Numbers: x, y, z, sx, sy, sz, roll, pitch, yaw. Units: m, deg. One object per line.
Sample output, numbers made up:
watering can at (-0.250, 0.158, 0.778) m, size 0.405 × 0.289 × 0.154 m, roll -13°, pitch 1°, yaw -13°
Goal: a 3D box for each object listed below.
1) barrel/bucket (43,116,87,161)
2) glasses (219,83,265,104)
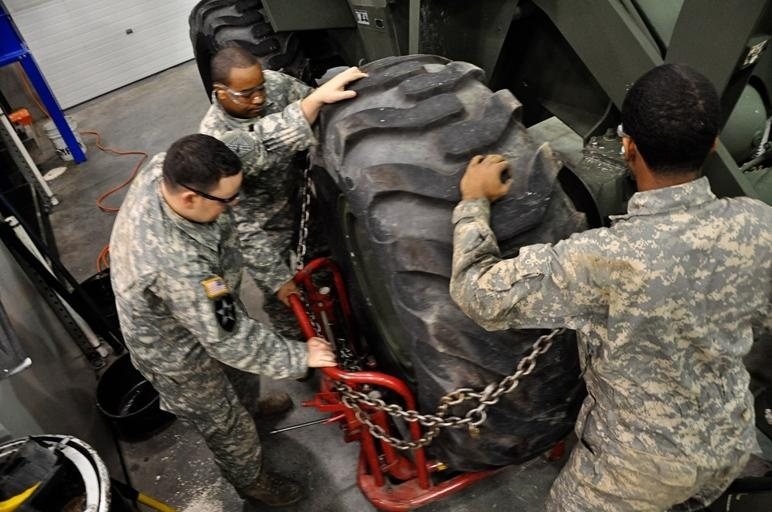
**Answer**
barrel/bucket at (-3.853, -1.407, 6.869) m, size 0.369 × 0.556 × 0.481 m, roll -25°, pitch 49°, yaw -19°
glasses at (-0.757, -0.871, 3.096) m, size 0.139 × 0.037 × 0.171 m, roll -30°, pitch 47°, yaw -33°
